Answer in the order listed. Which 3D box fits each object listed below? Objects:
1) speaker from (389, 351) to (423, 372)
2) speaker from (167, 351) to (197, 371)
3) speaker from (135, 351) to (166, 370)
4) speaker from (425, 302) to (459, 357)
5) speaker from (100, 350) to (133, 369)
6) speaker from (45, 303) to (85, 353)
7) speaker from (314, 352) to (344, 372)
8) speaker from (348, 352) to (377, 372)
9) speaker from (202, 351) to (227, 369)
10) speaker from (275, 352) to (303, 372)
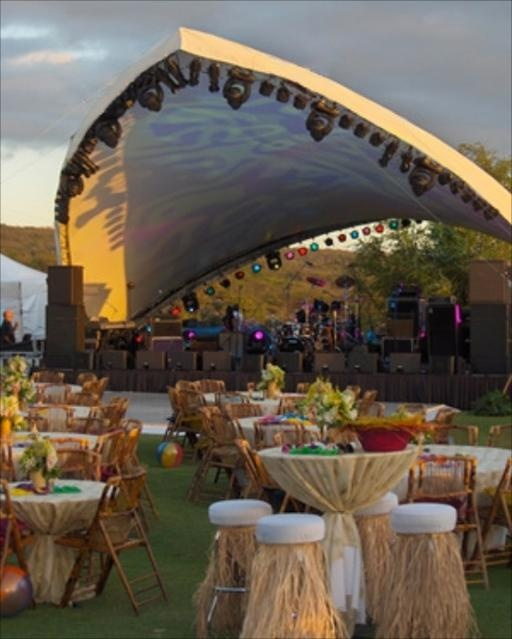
[{"bbox_3d":[2.527,0.609,15.261,0.517,0.329,0.309,1,5,18],"label":"speaker"},{"bbox_3d":[-1.289,0.726,16.247,0.589,0.377,0.321,2,5,31],"label":"speaker"},{"bbox_3d":[-1.888,0.736,16.601,0.610,0.306,0.391,3,1,1],"label":"speaker"},{"bbox_3d":[3.314,0.143,16.189,0.519,0.977,0.839,0,-2,9],"label":"speaker"},{"bbox_3d":[-2.583,0.734,17.270,0.723,0.352,0.485,2,3,17],"label":"speaker"},{"bbox_3d":[-3.374,0.169,16.249,0.655,0.875,0.414,1,-2,-13],"label":"speaker"},{"bbox_3d":[1.254,0.716,15.493,0.557,0.285,0.358,2,1,5],"label":"speaker"},{"bbox_3d":[1.797,0.724,15.625,0.503,0.345,0.368,0,-2,17],"label":"speaker"},{"bbox_3d":[-0.671,0.715,16.214,0.344,0.246,0.342,1,2,7],"label":"speaker"},{"bbox_3d":[0.583,0.760,15.678,0.359,0.258,0.361,1,-19,32],"label":"speaker"}]
